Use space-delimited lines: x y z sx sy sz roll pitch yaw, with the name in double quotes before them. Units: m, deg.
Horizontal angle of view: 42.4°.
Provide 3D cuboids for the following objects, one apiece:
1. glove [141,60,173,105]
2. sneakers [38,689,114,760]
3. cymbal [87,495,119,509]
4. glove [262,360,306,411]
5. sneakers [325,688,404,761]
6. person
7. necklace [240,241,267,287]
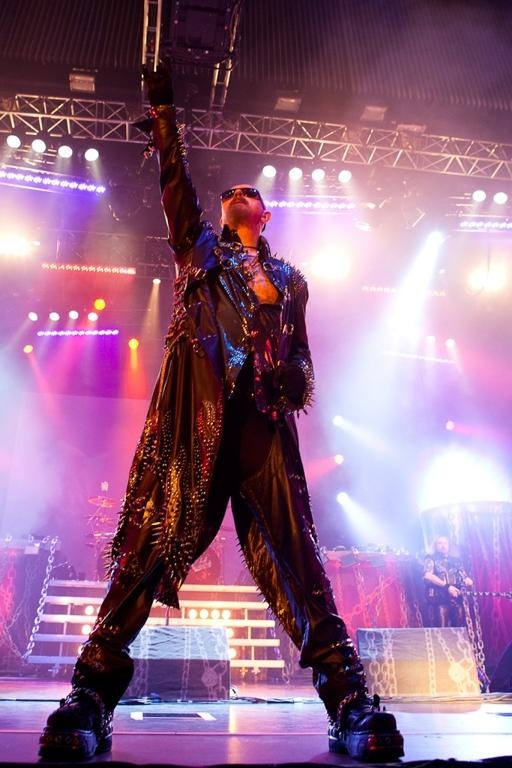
"glove" -0.328 -1.002 2.248 0.122 0.104 0.202 -10 1 -7
"sneakers" -0.427 0.813 1.578 0.097 0.111 0.267 7 -38 0
"cymbal" -2.395 1.833 10.350 0.314 0.106 0.270 -1 -28 16
"glove" 0.087 0.010 2.176 0.123 0.152 0.064 -3 -13 -30
"sneakers" 0.274 0.907 1.738 0.104 0.118 0.273 8 -23 -10
"person" -0.124 0.020 2.152 0.908 2.093 0.672 4 -17 -13
"necklace" -0.013 -0.428 2.462 0.109 0.172 0.046 -7 -20 -20
